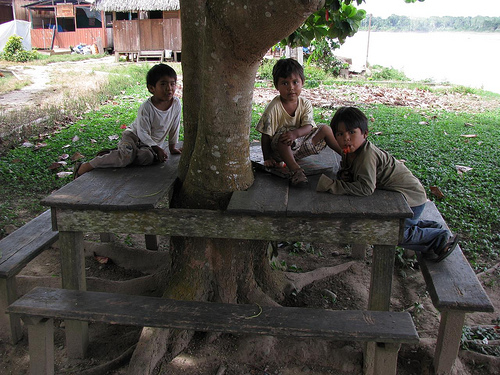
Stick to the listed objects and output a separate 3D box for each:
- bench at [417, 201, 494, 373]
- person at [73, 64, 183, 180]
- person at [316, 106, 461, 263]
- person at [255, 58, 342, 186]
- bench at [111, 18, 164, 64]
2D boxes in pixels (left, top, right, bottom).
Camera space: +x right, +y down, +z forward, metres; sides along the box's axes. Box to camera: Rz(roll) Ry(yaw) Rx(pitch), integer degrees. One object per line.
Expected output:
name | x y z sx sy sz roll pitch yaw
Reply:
bench | 1.740 0.882 2.981 0.308 0.576 1.206 -2 30 7
person | -1.037 -0.671 3.371 0.534 0.963 1.062 19 27 37
person | 1.087 -0.013 2.759 1.102 1.122 0.527 6 22 10
person | 0.497 -0.615 3.037 0.876 0.929 0.869 -6 25 -3
bench | -5.887 -7.663 18.379 2.805 1.986 0.777 8 22 14
